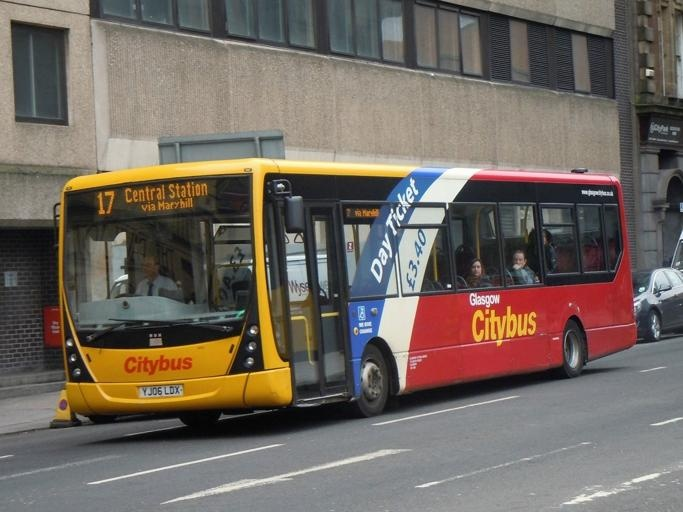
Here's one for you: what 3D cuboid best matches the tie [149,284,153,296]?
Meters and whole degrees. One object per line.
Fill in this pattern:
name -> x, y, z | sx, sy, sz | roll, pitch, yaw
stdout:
tie -> -2.446, 0.437, 10.777 | 0.039, 0.174, 0.013 | 6, 5, 14

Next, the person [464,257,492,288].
person -> 2.225, 0.270, 13.938 | 0.407, 0.239, 0.758 | -14, -5, 12
